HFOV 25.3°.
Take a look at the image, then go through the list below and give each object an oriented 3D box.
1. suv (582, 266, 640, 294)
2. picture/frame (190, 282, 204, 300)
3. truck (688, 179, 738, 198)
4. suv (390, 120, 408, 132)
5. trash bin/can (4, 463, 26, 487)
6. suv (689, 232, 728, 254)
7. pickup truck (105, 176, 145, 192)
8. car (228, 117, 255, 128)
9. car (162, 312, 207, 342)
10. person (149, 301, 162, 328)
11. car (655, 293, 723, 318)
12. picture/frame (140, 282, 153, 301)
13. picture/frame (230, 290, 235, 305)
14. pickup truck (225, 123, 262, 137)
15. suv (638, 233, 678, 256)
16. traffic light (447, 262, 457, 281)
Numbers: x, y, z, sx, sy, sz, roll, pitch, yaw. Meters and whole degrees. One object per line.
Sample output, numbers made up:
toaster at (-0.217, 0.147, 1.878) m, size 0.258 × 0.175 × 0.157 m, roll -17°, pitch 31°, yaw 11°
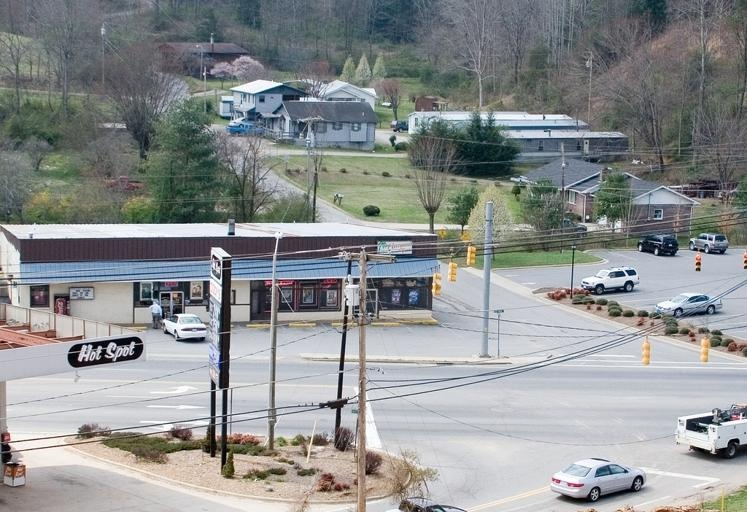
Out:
suv at (26.659, 2.935, 186.977) m, size 6.036 × 2.554 × 2.813 m, roll -1°, pitch 5°, yaw -14°
picture/frame at (-18.902, 3.757, 176.221) m, size 2.027 × 2.619 × 0.195 m, roll 0°, pitch 4°, yaw -17°
truck at (44.598, -8.535, 217.732) m, size 5.780 × 2.416 × 18.791 m, roll -1°, pitch 1°, yaw 5°
suv at (4.106, -19.640, 259.040) m, size 2.402 × 1.558 × 2.316 m, roll -1°, pitch 2°, yaw -5°
trash bin/can at (-32.695, 19.730, 150.888) m, size 1.984 × 2.238 × 1.993 m, roll 0°, pitch -1°, yaw 35°
suv at (40.033, -1.228, 197.823) m, size 1.370 × 2.407 × 4.268 m, roll -3°, pitch 3°, yaw -41°
pickup truck at (-30.489, -8.043, 202.807) m, size 3.352 × 1.372 × 2.306 m, roll -3°, pitch 10°, yaw -22°
car at (-19.332, -18.944, 242.912) m, size 3.502 × 1.022 × 2.282 m, roll -9°, pitch 19°, yaw -23°
car at (-19.694, 7.513, 172.469) m, size 4.462 × 2.634 × 1.902 m, roll -1°, pitch 2°, yaw 26°
person at (-22.979, 6.341, 174.710) m, size 1.150 × 2.709 × 1.387 m, roll -2°, pitch 2°, yaw -7°
car at (34.533, 5.510, 179.960) m, size 6.876 × 2.120 × 2.765 m, roll 0°, pitch 3°, yaw -15°
picture/frame at (-24.137, 3.753, 175.319) m, size 1.989 × 2.684 × 0.278 m, roll 2°, pitch 0°, yaw -7°
picture/frame at (-14.948, 4.446, 176.681) m, size 0.497 × 1.629 × 0.413 m, roll 0°, pitch 3°, yaw 26°
pickup truck at (-18.931, -17.973, 241.431) m, size 5.391 × 1.736 × 3.963 m, roll -2°, pitch 2°, yaw -18°
suv at (34.250, -1.104, 198.238) m, size 2.359 × 1.838 × 3.896 m, roll -1°, pitch 13°, yaw -32°
traffic light at (7.639, 1.610, 159.663) m, size 0.646 × 1.754 × 1.278 m, roll -2°, pitch 2°, yaw -5°
